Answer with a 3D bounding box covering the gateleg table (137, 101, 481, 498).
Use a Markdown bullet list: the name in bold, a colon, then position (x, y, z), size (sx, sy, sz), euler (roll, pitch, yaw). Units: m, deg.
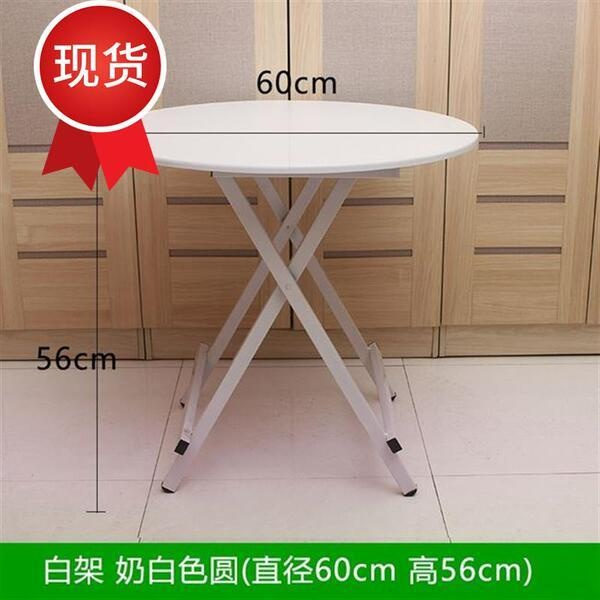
- **gateleg table**: position (-0.007, -0.041, 1.674), size (0.840, 0.920, 0.917), euler (0, -67, 1)
